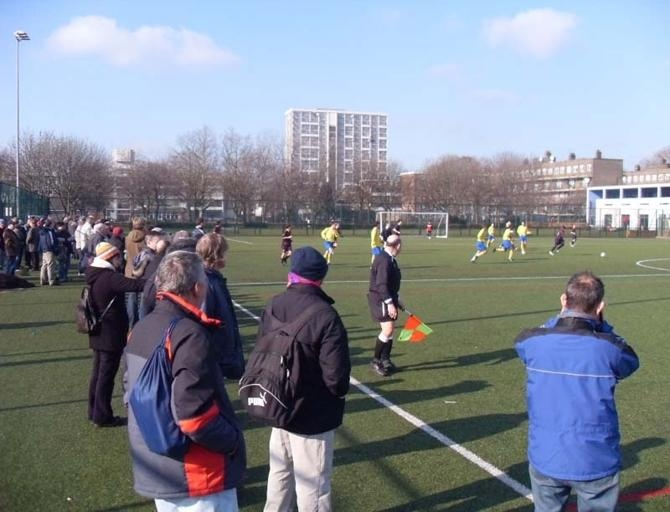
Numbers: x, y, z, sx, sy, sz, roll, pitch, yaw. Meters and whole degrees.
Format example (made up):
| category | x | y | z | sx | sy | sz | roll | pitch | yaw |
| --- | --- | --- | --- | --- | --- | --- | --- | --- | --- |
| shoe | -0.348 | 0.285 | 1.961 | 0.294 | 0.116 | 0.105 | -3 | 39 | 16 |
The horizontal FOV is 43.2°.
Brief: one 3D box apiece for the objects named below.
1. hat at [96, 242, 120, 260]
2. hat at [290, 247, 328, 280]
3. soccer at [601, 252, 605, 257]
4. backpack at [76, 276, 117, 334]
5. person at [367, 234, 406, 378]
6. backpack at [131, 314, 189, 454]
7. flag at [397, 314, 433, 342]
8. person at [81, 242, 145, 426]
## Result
| category | x | y | z | sx | sy | sz | roll | pitch | yaw |
| --- | --- | --- | --- | --- | --- | --- | --- | --- | --- |
| hat | -2.692 | -0.049 | 9.936 | 0.188 | 0.156 | 0.201 | -1 | -4 | 0 |
| hat | -0.277 | 0.056 | 8.365 | 0.395 | 0.268 | 0.315 | 5 | 22 | 19 |
| soccer | 10.581 | -0.022 | 33.319 | 0.093 | 0.191 | 0.180 | -5 | 18 | -4 |
| backpack | -2.783 | 0.627 | 9.903 | 0.499 | 0.549 | 0.407 | -6 | -2 | 9 |
| person | 0.704 | 0.679 | 11.804 | 0.468 | 1.926 | 0.576 | 0 | 10 | 2 |
| backpack | -1.531 | 1.185 | 7.293 | 0.418 | 1.091 | 0.375 | -6 | 12 | -30 |
| flag | 1.268 | 1.163 | 13.390 | 0.361 | 0.385 | 0.197 | -24 | -19 | -8 |
| person | -2.675 | 0.937 | 10.205 | 0.890 | 2.188 | 0.905 | -1 | 12 | -25 |
